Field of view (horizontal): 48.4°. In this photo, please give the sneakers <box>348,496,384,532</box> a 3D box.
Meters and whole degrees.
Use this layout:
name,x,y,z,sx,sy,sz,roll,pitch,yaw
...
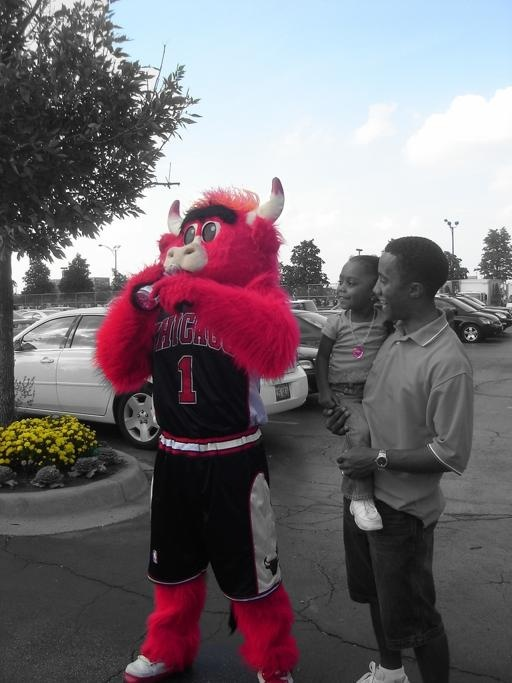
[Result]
name,x,y,z,sx,sy,sz,roll,pitch,yaw
sneakers,0.330,0.542,1.742,0.051,0.055,0.135,-1,-9,-12

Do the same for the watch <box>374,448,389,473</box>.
name,x,y,z,sx,sy,sz,roll,pitch,yaw
watch,0.360,0.346,1.637,0.037,0.053,0.051,-8,2,16

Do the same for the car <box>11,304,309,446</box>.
name,x,y,z,sx,sy,sz,roll,pitch,yaw
car,-1.352,0.347,6.516,3.657,1.093,1.543,2,3,27
